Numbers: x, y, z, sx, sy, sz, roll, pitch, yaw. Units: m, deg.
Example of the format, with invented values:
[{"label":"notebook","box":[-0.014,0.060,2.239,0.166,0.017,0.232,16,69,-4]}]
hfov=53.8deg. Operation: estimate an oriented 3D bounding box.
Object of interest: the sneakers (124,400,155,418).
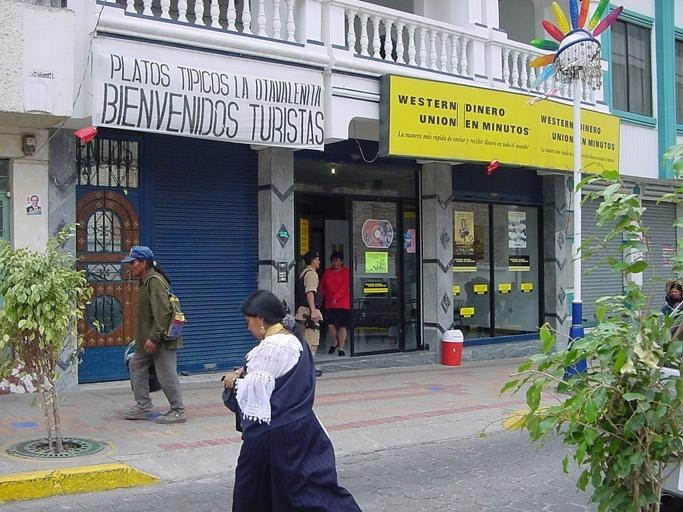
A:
[{"label":"sneakers","box":[-2.856,2.157,9.491,0.323,0.207,0.209,3,-6,-14]}]

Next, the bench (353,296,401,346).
[{"label":"bench","box":[0.844,1.519,15.377,1.121,1.154,0.263,0,-1,-34]}]

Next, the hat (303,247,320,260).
[{"label":"hat","box":[-0.612,-0.029,13.410,0.255,0.289,0.209,9,-2,-42]}]

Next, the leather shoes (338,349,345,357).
[{"label":"leather shoes","box":[-0.019,2.088,14.528,0.108,0.089,0.228,1,-11,-11]}]

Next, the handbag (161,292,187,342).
[{"label":"handbag","box":[-2.361,0.826,9.336,0.347,0.701,0.484,8,-6,-5]}]

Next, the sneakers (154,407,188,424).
[{"label":"sneakers","box":[-2.337,2.217,9.329,0.344,0.189,0.197,3,-4,-7]}]

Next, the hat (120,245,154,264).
[{"label":"hat","box":[-2.848,-0.027,9.251,0.482,0.272,0.328,2,0,-9]}]
